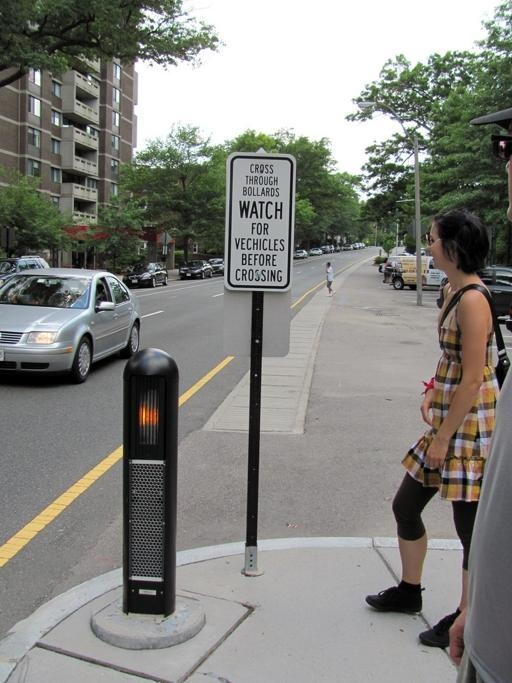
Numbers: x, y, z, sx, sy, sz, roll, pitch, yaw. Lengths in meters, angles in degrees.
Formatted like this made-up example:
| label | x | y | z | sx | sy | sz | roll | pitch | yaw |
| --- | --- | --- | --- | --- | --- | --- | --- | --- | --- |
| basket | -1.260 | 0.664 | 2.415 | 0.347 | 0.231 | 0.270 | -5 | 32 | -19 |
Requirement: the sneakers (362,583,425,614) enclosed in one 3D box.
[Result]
| label | x | y | z | sx | sy | sz | roll | pitch | yaw |
| --- | --- | --- | --- | --- | --- | --- | --- | --- | --- |
| sneakers | 0.682 | 1.221 | 3.037 | 0.306 | 0.174 | 0.125 | 3 | 2 | 4 |
